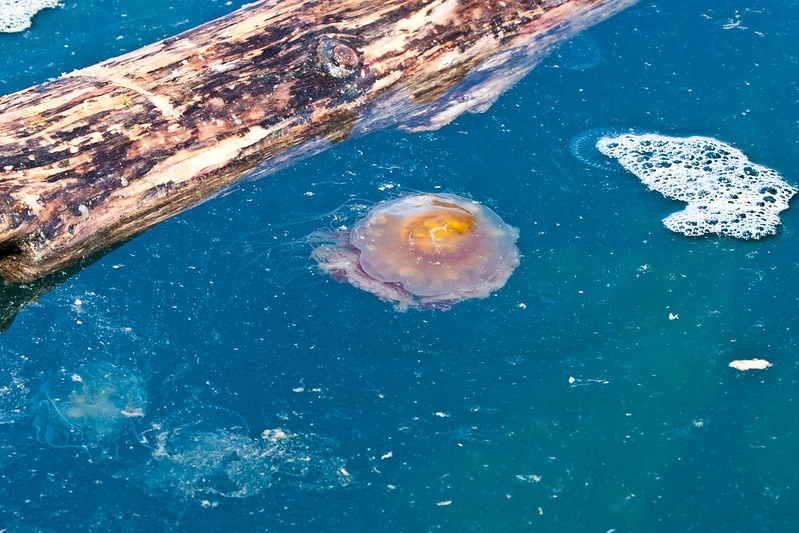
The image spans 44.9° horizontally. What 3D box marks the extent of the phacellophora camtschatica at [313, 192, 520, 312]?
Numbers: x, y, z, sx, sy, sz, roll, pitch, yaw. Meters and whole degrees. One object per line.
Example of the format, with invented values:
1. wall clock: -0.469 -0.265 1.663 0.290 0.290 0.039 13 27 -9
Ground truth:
1. phacellophora camtschatica: 0.383 -0.215 14.232 2.594 0.405 1.750 -3 38 -6
